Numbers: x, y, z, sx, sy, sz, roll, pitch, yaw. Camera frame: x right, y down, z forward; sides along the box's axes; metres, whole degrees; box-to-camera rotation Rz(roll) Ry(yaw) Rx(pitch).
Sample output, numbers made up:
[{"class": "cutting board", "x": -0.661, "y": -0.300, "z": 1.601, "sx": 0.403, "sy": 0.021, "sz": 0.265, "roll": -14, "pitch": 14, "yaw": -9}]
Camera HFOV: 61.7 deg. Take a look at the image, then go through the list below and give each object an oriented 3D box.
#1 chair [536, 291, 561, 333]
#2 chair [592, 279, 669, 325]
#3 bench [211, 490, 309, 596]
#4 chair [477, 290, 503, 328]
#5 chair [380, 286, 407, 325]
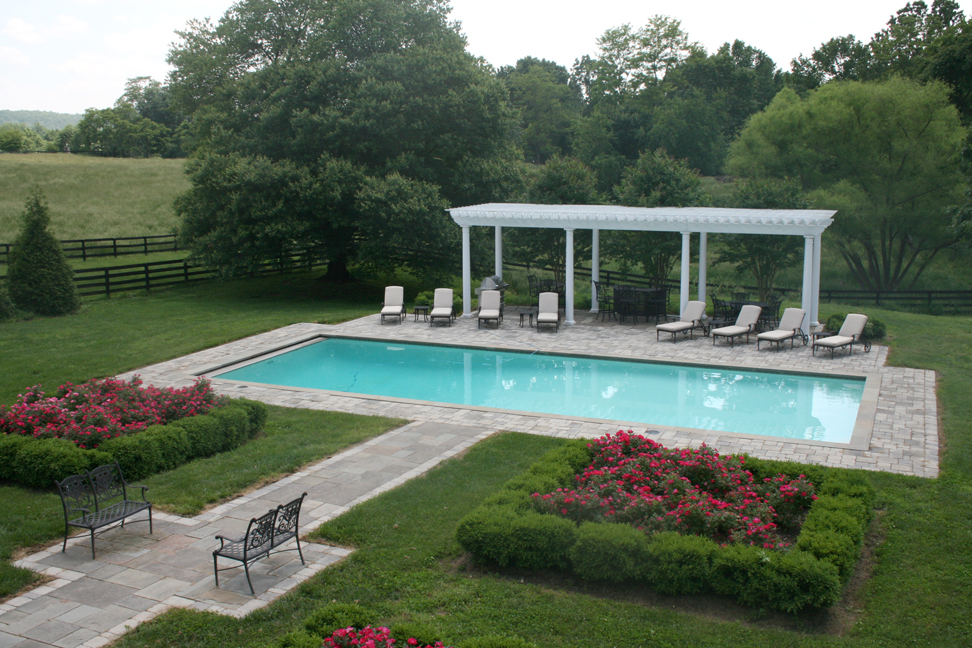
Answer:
[{"class": "chair", "x": 2.271, "y": -0.512, "z": 30.001, "sx": 0.868, "sy": 1.163, "sz": 1.869, "roll": 1, "pitch": 10, "yaw": 6}, {"class": "chair", "x": 5.486, "y": -0.828, "z": 31.118, "sx": 2.809, "sy": 1.283, "sz": 1.965, "roll": 3, "pitch": 11, "yaw": 21}, {"class": "bench", "x": -4.111, "y": 4.062, "z": 14.915, "sx": 0.852, "sy": 1.197, "sz": 1.596, "roll": 5, "pitch": 5, "yaw": 23}, {"class": "chair", "x": 0.157, "y": -0.614, "z": 30.236, "sx": 0.927, "sy": 1.259, "sz": 1.009, "roll": -1, "pitch": 10, "yaw": 0}, {"class": "chair", "x": -3.517, "y": -0.730, "z": 31.301, "sx": 0.837, "sy": 1.058, "sz": 1.511, "roll": 0, "pitch": 7, "yaw": 2}]
